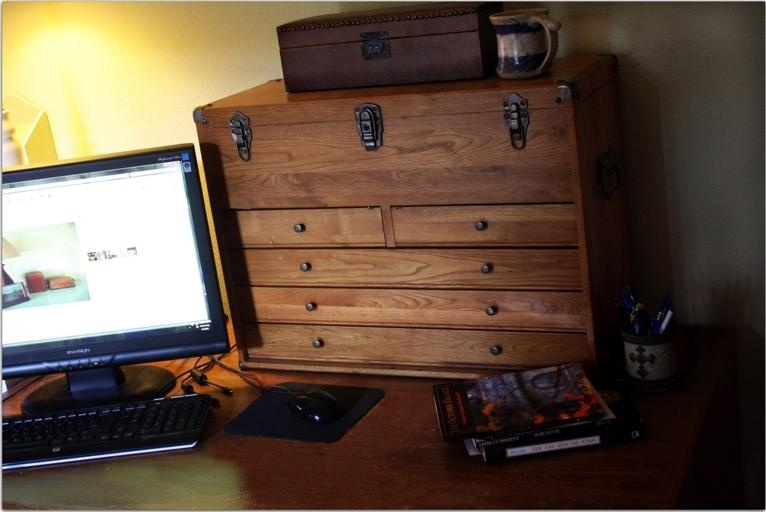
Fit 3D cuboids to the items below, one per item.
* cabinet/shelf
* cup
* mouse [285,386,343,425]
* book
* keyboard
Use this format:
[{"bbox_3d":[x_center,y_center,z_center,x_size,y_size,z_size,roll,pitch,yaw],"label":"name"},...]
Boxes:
[{"bbox_3d":[0.114,-0.107,1.585,1.049,0.589,0.562,-1,11,29],"label":"cabinet/shelf"},{"bbox_3d":[0.320,-0.483,1.229,0.146,0.123,0.194,-15,23,-18],"label":"cup"},{"bbox_3d":[-0.164,0.366,1.322,0.093,0.049,0.118,-12,13,-31],"label":"mouse"},{"bbox_3d":[0.293,0.338,1.184,0.295,0.053,0.197,-7,13,-7],"label":"book"},{"bbox_3d":[-0.669,0.427,1.300,0.490,0.084,0.119,-5,11,-3],"label":"keyboard"}]
